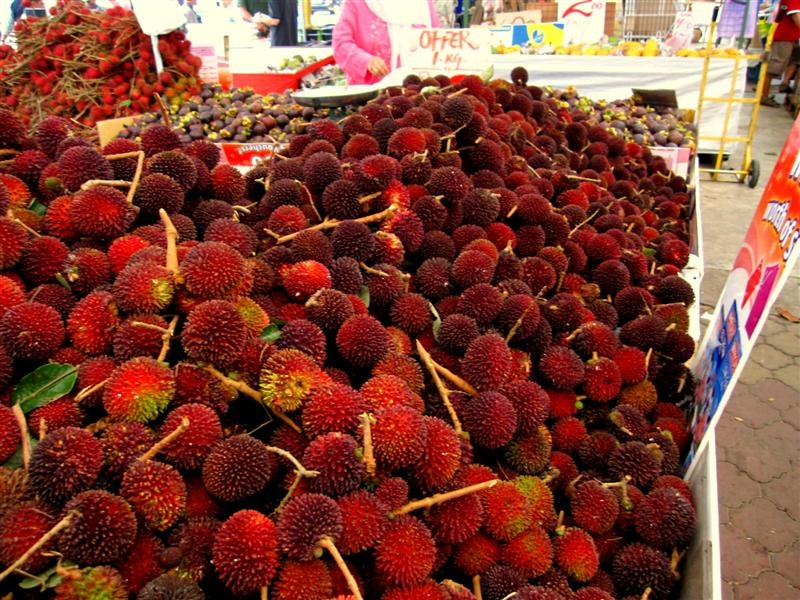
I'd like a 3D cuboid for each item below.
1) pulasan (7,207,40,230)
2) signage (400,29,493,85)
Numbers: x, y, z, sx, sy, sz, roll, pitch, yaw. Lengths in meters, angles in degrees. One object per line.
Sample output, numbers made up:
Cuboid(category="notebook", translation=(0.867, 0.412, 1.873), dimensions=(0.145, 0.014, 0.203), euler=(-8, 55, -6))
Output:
Cuboid(category="pulasan", translation=(-1.077, -0.234, 1.684), dimensions=(0.090, 0.042, 0.066), euler=(13, 0, -25))
Cuboid(category="signage", translation=(0.294, -1.687, 3.935), dimensions=(0.661, 0.317, 0.014), euler=(-8, 7, -19))
